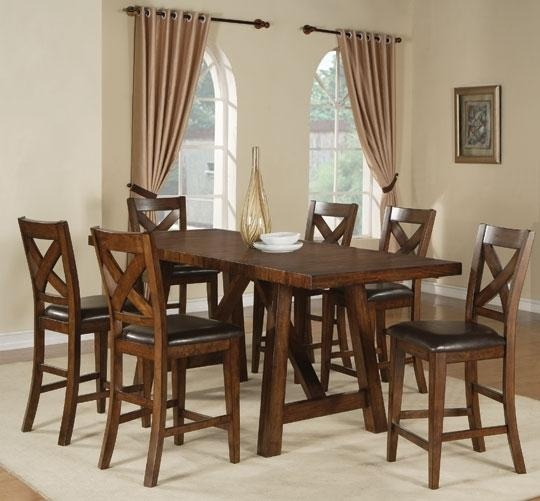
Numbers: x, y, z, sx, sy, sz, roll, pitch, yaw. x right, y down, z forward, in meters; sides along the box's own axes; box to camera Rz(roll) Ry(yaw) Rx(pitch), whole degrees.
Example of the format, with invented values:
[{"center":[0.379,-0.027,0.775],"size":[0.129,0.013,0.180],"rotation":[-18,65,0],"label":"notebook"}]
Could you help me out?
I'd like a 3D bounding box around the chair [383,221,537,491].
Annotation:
[{"center":[0.738,0.386,2.189],"size":[0.481,0.983,0.379],"rotation":[-1,4,-17],"label":"chair"}]
